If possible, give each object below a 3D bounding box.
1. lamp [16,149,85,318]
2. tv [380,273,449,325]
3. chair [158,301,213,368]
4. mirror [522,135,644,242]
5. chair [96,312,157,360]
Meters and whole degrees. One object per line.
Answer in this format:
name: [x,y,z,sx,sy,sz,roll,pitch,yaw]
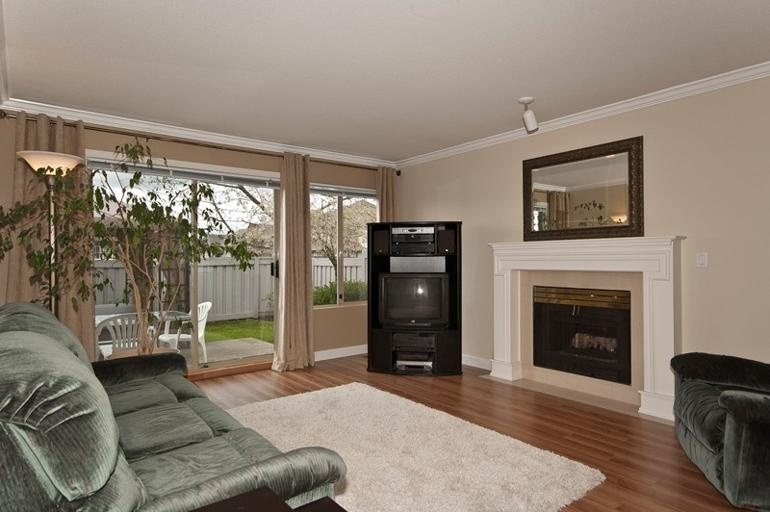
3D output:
lamp: [-3.037,-0.181,4.672,0.470,1.585,0.800,-7,11,-35]
tv: [0.396,0.552,6.694,0.952,0.718,0.559,0,7,9]
chair: [-2.473,0.964,6.306,0.542,0.717,0.540,3,6,-8]
mirror: [2.261,-0.745,5.560,0.051,0.974,1.237,0,-1,-43]
chair: [-2.750,0.856,5.280,0.473,0.712,0.481,-4,11,-40]
